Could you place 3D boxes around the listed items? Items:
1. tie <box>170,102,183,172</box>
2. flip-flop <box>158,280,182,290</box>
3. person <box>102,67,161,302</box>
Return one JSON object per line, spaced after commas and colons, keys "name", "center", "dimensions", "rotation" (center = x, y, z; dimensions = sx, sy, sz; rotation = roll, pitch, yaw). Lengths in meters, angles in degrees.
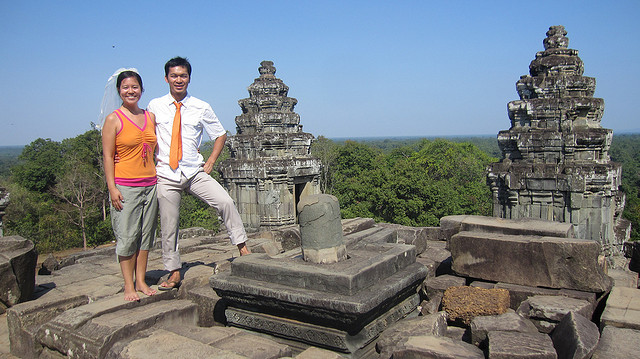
{"name": "tie", "center": [-2.116, -0.637, 6.409], "dimensions": [0.128, 0.994, 0.231], "rotation": [-1, 3, 12]}
{"name": "flip-flop", "center": [-2.216, 1.559, 6.449], "dimensions": [0.284, 0.067, 0.111], "rotation": [4, -2, -41]}
{"name": "person", "center": [-2.638, 0.077, 6.210], "dimensions": [0.433, 3.254, 0.713], "rotation": [0, 3, 32]}
